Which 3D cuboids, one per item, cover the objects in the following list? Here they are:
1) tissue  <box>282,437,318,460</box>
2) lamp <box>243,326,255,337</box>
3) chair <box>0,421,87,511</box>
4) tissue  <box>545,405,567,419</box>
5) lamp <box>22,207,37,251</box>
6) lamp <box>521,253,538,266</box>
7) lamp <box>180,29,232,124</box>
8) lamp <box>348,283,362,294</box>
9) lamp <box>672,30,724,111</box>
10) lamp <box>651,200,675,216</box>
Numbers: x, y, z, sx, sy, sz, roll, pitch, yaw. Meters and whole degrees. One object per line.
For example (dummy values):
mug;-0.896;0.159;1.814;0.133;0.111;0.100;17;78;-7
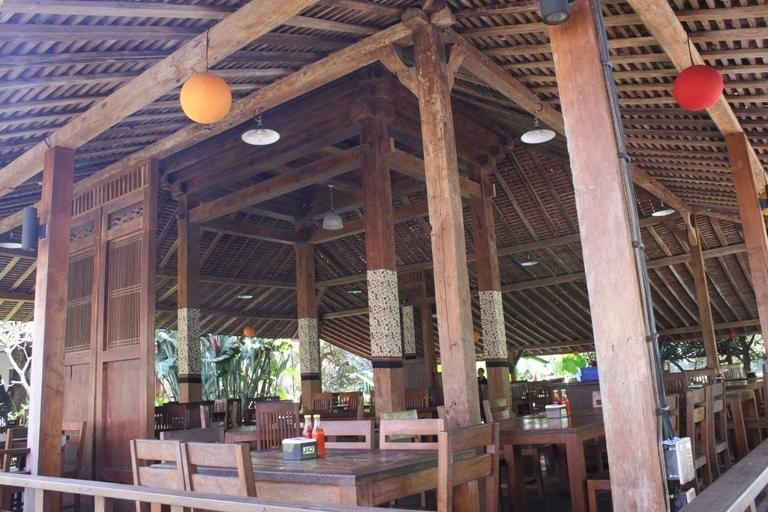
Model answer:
tissue ;-0.608;1.374;4.245;0.183;0.104;0.175;-5;-8;26
lamp;-3.334;1.842;14.695;0.210;0.327;0.847;-2;-16;-10
chair;-3.648;2.344;6.363;0.734;1.008;1.917;3;-18;-26
tissue ;1.574;1.391;5.395;0.146;0.101;0.199;-4;-8;23
lamp;-3.840;-0.317;6.433;0.154;0.482;0.243;5;-20;-30
lamp;3.282;0.112;13.412;0.382;0.338;0.371;-3;-16;13
lamp;-1.590;-1.607;5.281;0.399;1.005;0.610;0;-18;-17
lamp;-0.731;0.889;15.370;0.377;0.138;0.327;1;-40;-5
lamp;2.848;-1.581;5.392;0.378;0.417;0.250;-13;-19;25
lamp;4.748;-0.839;10.101;0.363;0.321;0.347;-9;-21;25
